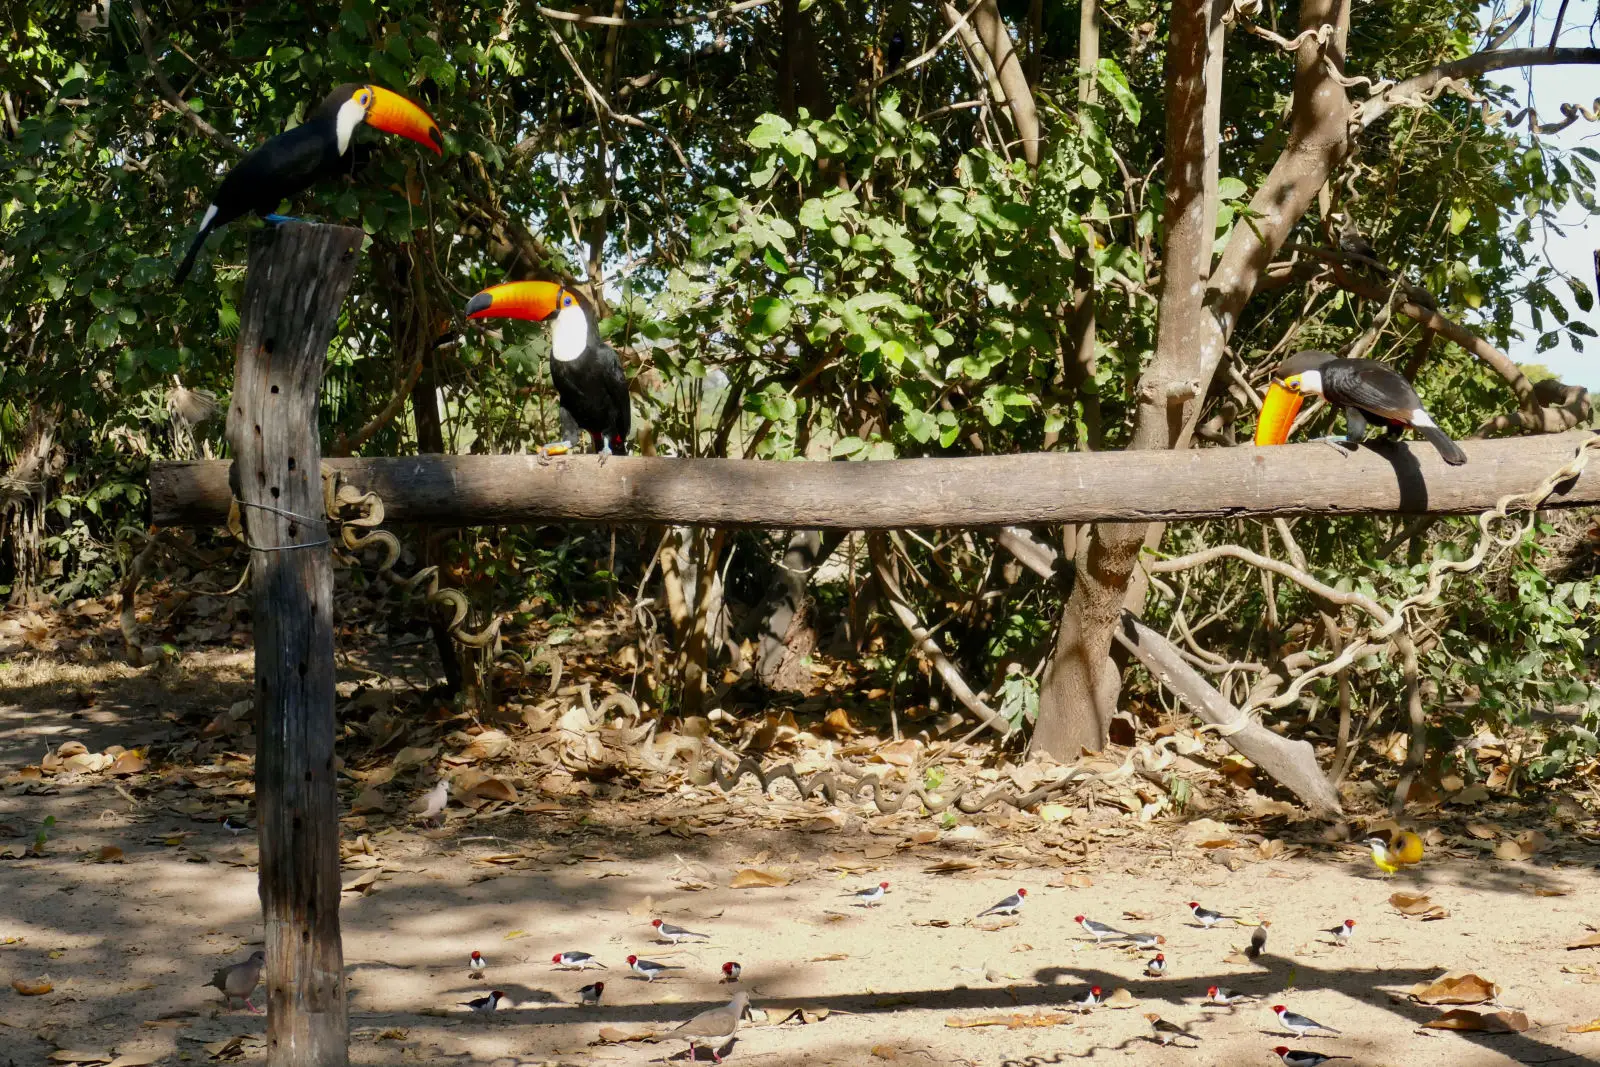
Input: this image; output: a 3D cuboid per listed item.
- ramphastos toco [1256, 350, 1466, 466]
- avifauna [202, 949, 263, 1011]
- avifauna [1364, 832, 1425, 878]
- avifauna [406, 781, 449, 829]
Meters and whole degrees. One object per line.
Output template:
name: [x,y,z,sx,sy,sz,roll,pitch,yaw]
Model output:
ramphastos toco: [3.104,-0.728,9.796,0.421,0.571,1.290,5,3,-39]
avifauna: [-2.916,2.281,9.135,0.257,0.286,0.540,3,-9,-18]
avifauna: [3.652,1.961,10.864,0.195,0.254,0.342,-6,-12,-46]
avifauna: [-2.383,1.718,11.389,0.259,0.288,0.688,2,-8,-12]
